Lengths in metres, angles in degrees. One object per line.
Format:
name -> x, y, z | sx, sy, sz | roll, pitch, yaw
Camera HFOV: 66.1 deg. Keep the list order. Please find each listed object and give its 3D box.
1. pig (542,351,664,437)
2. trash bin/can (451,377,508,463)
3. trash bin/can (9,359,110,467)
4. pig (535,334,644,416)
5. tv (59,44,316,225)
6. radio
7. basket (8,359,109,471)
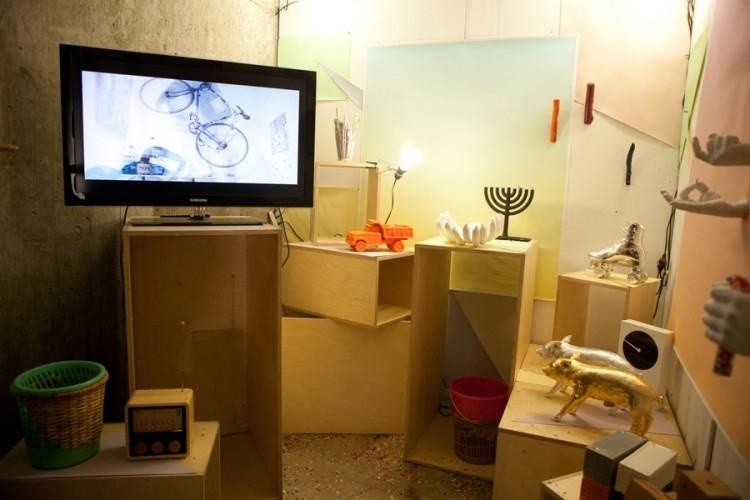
pig -> 0.996, 0.645, 2.578 | 0.509, 0.285, 0.179 | 10, 12, 38
trash bin/can -> 0.509, 0.899, 3.190 | 0.396, 0.408, 0.376 | 1, 0, 5
trash bin/can -> -1.300, 0.720, 2.428 | 0.347, 0.344, 0.364 | 0, -1, -10
pig -> 0.978, 0.605, 2.655 | 0.563, 0.287, 0.158 | 14, 1, -10
tv -> -0.907, -0.535, 2.712 | 0.991, 0.590, 0.020 | 1, 8, -16
radio -> -0.896, 0.738, 2.437 | 0.248, 0.261, 0.244 | 4, -23, -15
basket -> -1.318, 0.692, 2.422 | 0.377, 0.356, 0.366 | 9, 9, 44
